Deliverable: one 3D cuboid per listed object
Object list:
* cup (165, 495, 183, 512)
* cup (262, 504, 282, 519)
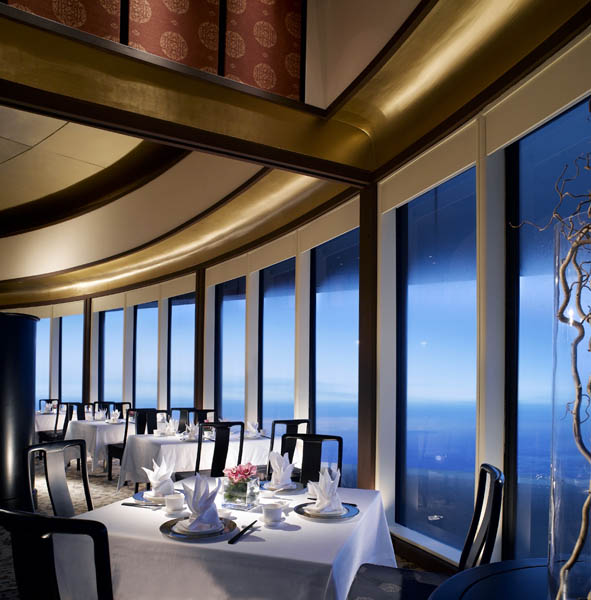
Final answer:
[{"bbox_3d":[-0.551,0.927,2.490,0.053,0.060,0.074,-2,-8,10],"label":"cup"},{"bbox_3d":[-0.103,0.924,2.364,0.068,0.051,0.057,4,-7,-27],"label":"cup"}]
